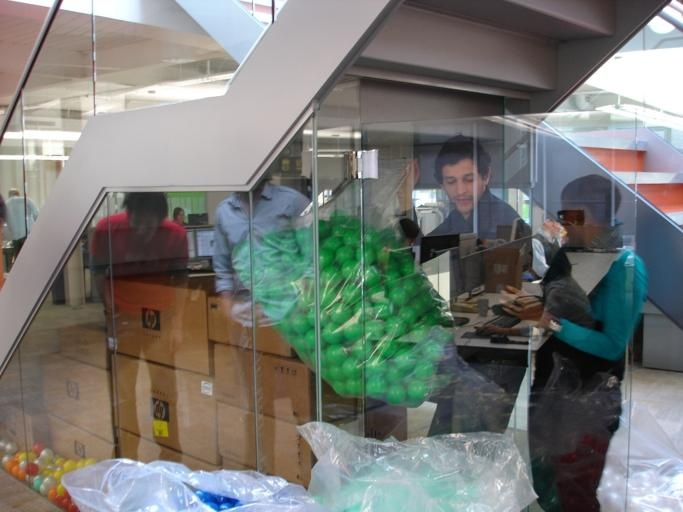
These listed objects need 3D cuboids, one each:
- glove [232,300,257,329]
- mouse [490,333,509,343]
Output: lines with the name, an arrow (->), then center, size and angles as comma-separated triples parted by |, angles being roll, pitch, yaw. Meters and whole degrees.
glove -> -0.332, 0.197, 1.944 | 0.083, 0.085, 0.023 | 5, 6, 42
mouse -> 0.481, 0.252, 1.735 | 0.031, 0.016, 0.032 | -1, 6, -2
